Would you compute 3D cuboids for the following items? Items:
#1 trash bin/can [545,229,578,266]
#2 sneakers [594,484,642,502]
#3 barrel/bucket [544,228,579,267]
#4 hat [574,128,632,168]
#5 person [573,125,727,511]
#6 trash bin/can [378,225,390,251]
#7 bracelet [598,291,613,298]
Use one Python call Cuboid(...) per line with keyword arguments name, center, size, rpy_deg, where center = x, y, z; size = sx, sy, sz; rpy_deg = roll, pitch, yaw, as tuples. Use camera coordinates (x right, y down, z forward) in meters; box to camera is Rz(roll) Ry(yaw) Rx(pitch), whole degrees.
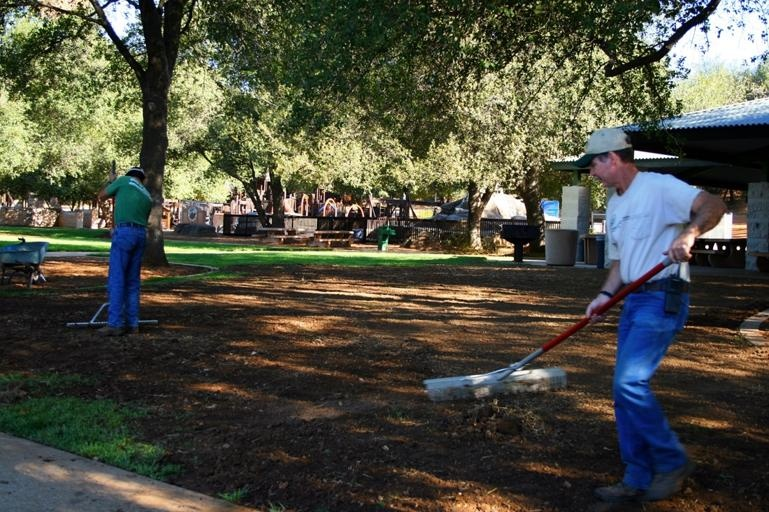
Cuboid(name="trash bin/can", center=(6.762, -0.282, 25.739), size=(1.463, 1.302, 1.388), rpy_deg=(7, -7, -43))
Cuboid(name="sneakers", center=(1.853, 1.860, 5.302), size=(0.346, 0.121, 0.138), rpy_deg=(1, -4, -2))
Cuboid(name="barrel/bucket", center=(6.776, -0.297, 25.724), size=(1.443, 1.336, 1.428), rpy_deg=(1, -5, 0))
Cuboid(name="hat", center=(1.829, -0.909, 5.690), size=(0.490, 0.240, 0.332), rpy_deg=(-14, -12, 10))
Cuboid(name="person", center=(2.137, 0.433, 5.454), size=(1.057, 3.016, 0.685), rpy_deg=(2, 1, 28))
Cuboid(name="trash bin/can", center=(-0.020, -1.008, 36.410), size=(0.652, 1.162, 2.013), rpy_deg=(2, 0, -1))
Cuboid(name="bracelet", center=(1.946, 0.330, 5.879), size=(0.077, 0.018, 0.075), rpy_deg=(22, -6, -39))
